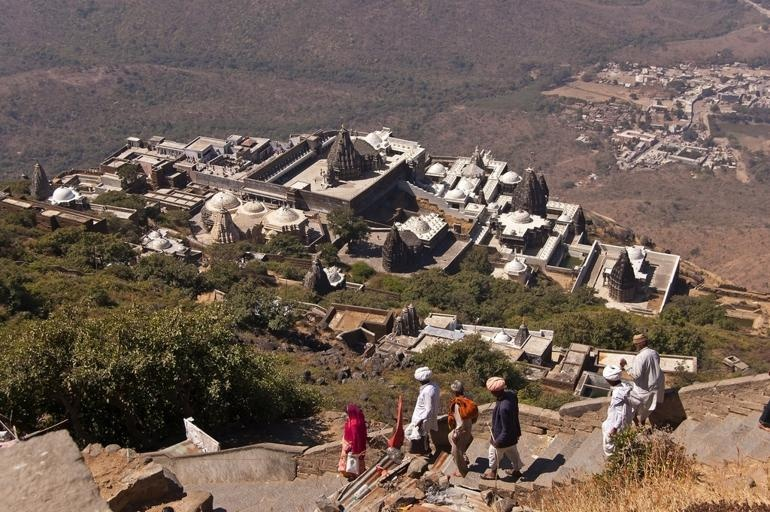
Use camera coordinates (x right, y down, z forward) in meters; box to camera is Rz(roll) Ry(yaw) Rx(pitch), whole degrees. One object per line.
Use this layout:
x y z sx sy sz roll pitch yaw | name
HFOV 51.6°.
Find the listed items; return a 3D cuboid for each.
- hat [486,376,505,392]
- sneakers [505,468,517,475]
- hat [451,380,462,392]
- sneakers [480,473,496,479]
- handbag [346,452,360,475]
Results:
2.704 3.097 19.280 0.397 0.273 0.327 6 72 5 | hat
3.160 5.314 19.659 0.269 0.097 0.178 19 100 16 | sneakers
1.780 3.186 19.585 0.225 0.302 0.234 0 56 9 | hat
2.568 5.365 19.408 0.301 0.106 0.155 7 22 3 | sneakers
-0.805 5.201 19.996 0.498 0.375 0.633 -3 78 6 | handbag
